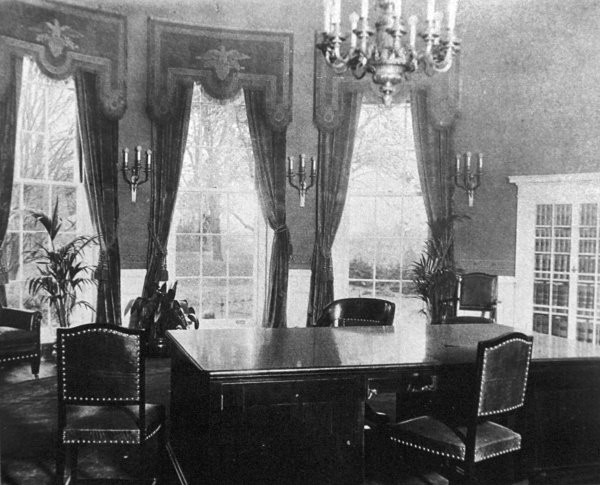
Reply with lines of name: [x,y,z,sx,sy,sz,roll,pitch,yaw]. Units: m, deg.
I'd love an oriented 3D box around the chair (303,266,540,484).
chair: [0.953,0.935,5.384,0.703,1.531,2.028,1,5,-26]

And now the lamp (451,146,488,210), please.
lamp: [1.918,-0.731,8.044,0.335,0.542,0.312,2,-1,12]

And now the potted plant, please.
potted plant: [-1.439,0.719,7.011,0.691,0.950,0.856,1,1,34]

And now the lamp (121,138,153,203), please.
lamp: [-1.702,-0.731,7.314,0.314,0.607,0.526,2,-1,-15]

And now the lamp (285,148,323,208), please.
lamp: [0.036,-0.714,7.830,0.535,0.887,0.208,-2,8,-16]
